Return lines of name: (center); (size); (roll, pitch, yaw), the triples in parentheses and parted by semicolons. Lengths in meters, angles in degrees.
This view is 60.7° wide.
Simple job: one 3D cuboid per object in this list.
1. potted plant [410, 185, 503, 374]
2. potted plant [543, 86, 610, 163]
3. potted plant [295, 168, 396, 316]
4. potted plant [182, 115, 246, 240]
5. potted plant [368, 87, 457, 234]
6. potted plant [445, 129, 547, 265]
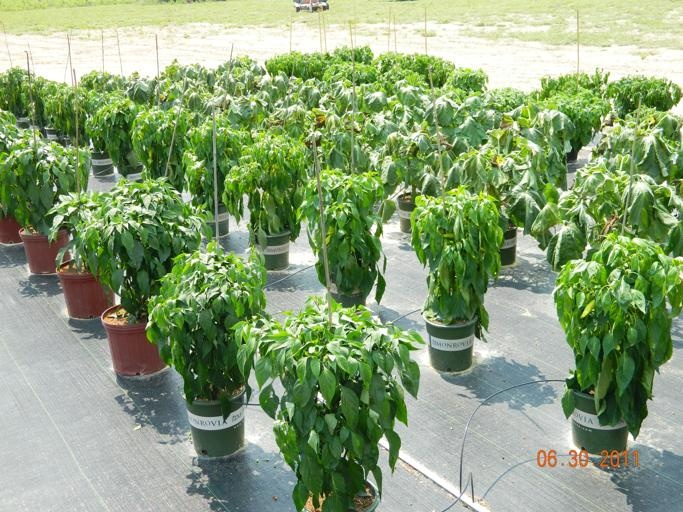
potted plant: (1.090, 0.275, 5.581); (0.827, 1.761, 0.466); (-1, 18, 7)
potted plant: (4.284, -2.231, 10.683); (0.826, 0.962, 0.944); (19, 29, 13)
potted plant: (0.092, 0.052, 6.344); (0.748, 1.317, 0.836); (5, -8, 15)
potted plant: (-1.819, -1.096, 8.043); (0.777, 1.540, 0.752); (4, 7, -19)
potted plant: (1.018, -1.086, 8.025); (0.777, 1.350, 0.744); (8, 10, 7)
potted plant: (1.868, -0.703, 7.375); (1.309, 1.919, 1.423); (1, 23, 7)
